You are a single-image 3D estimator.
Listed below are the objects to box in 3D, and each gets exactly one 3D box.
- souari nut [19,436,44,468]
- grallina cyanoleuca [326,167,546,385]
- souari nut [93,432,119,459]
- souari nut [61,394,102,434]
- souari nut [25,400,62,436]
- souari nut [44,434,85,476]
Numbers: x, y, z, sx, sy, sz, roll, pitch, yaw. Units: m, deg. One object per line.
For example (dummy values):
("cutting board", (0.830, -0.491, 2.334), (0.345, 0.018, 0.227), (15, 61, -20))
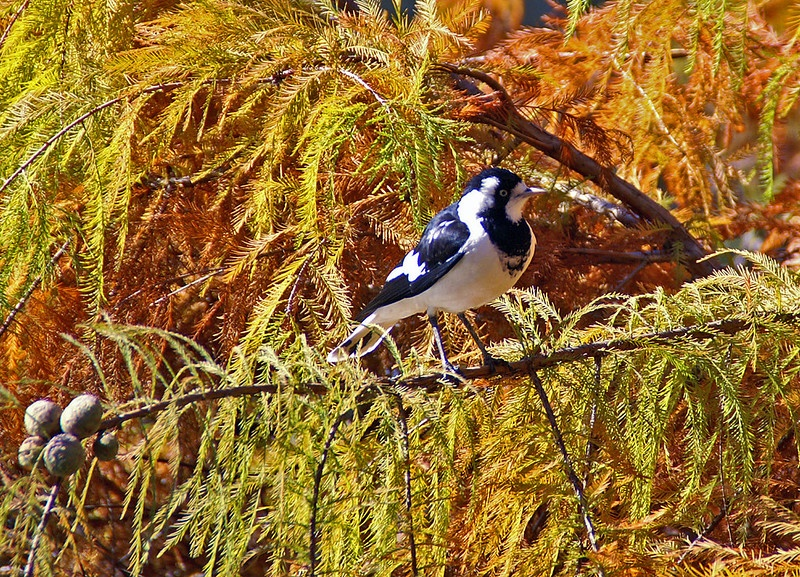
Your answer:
("souari nut", (-0.725, 0.324, 2.491), (0.031, 0.058, 0.048), (19, 19, -44))
("grallina cyanoleuca", (0.037, -0.037, 3.349), (0.697, 0.574, 0.313), (-10, -13, 30))
("souari nut", (-0.586, 0.323, 2.526), (0.048, 0.048, 0.060), (9, 58, -14))
("souari nut", (-0.625, 0.250, 2.464), (0.081, 0.061, 0.063), (-37, 37, 20))
("souari nut", (-0.705, 0.253, 2.470), (0.065, 0.068, 0.080), (-14, 34, -2))
("souari nut", (-0.649, 0.327, 2.458), (0.074, 0.074, 0.092), (3, 60, -13))
